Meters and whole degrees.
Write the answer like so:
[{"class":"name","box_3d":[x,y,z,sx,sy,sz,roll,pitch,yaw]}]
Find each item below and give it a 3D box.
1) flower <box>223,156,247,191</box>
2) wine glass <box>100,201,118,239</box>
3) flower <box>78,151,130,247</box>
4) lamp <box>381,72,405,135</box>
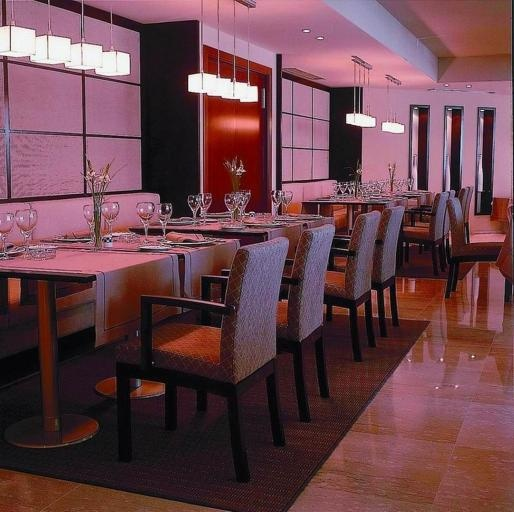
[{"class":"flower","box_3d":[-0.181,-0.647,3.658,0.140,0.308,0.162,-5,-25,1]},{"class":"wine glass","box_3d":[-0.723,-0.179,2.243,0.081,0.206,0.092,-3,30,-23]},{"class":"flower","box_3d":[-0.756,-0.228,2.198,0.162,0.395,0.148,3,-9,-41]},{"class":"lamp","box_3d":[3.040,-3.300,10.261,0.413,1.478,2.472,1,3,16]}]
